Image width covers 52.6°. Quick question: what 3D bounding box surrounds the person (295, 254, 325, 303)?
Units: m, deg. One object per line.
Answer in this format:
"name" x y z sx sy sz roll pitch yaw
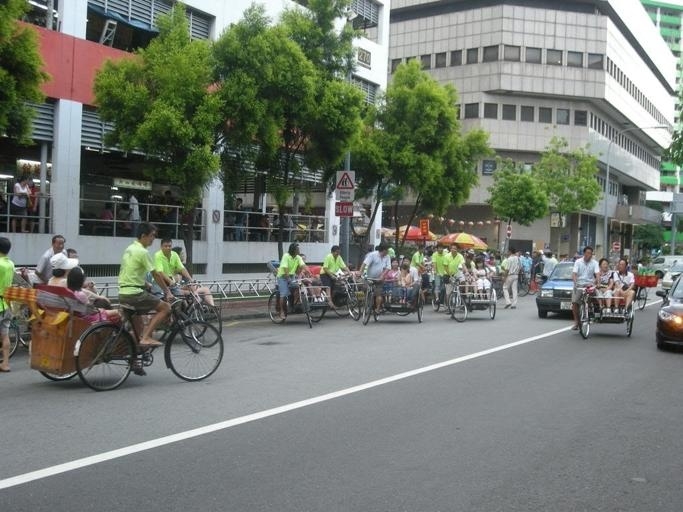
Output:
"person" -0.769 0.499 17.904 0.560 0.748 1.217 -3 30 -3

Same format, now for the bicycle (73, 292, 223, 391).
"bicycle" -2.983 1.275 10.690 2.170 1.501 1.006 -5 7 -30

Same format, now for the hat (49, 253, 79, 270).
"hat" -5.008 0.098 12.355 0.307 0.180 0.266 0 25 8
